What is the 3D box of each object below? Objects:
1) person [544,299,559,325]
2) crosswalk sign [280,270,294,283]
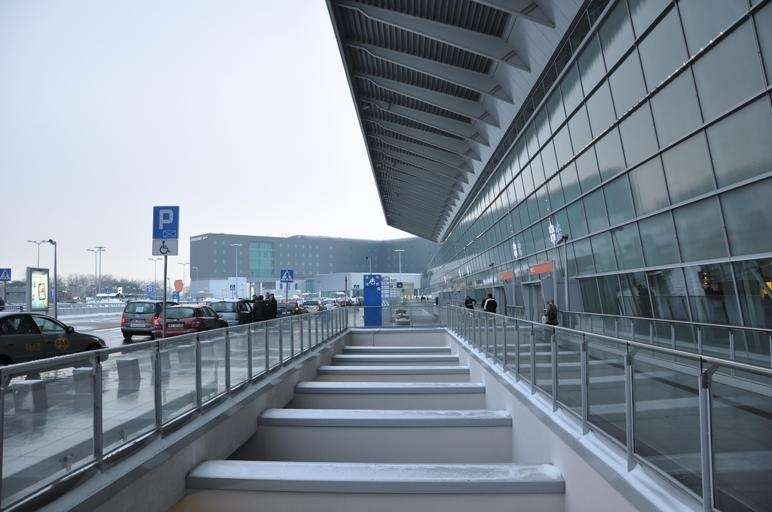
[{"bbox_3d":[5.092,1.712,15.220,0.385,0.742,1.038,-4,-5,17],"label":"person"},{"bbox_3d":[-6.191,1.176,30.849,0.670,0.834,1.909,-1,-6,-16],"label":"crosswalk sign"}]
